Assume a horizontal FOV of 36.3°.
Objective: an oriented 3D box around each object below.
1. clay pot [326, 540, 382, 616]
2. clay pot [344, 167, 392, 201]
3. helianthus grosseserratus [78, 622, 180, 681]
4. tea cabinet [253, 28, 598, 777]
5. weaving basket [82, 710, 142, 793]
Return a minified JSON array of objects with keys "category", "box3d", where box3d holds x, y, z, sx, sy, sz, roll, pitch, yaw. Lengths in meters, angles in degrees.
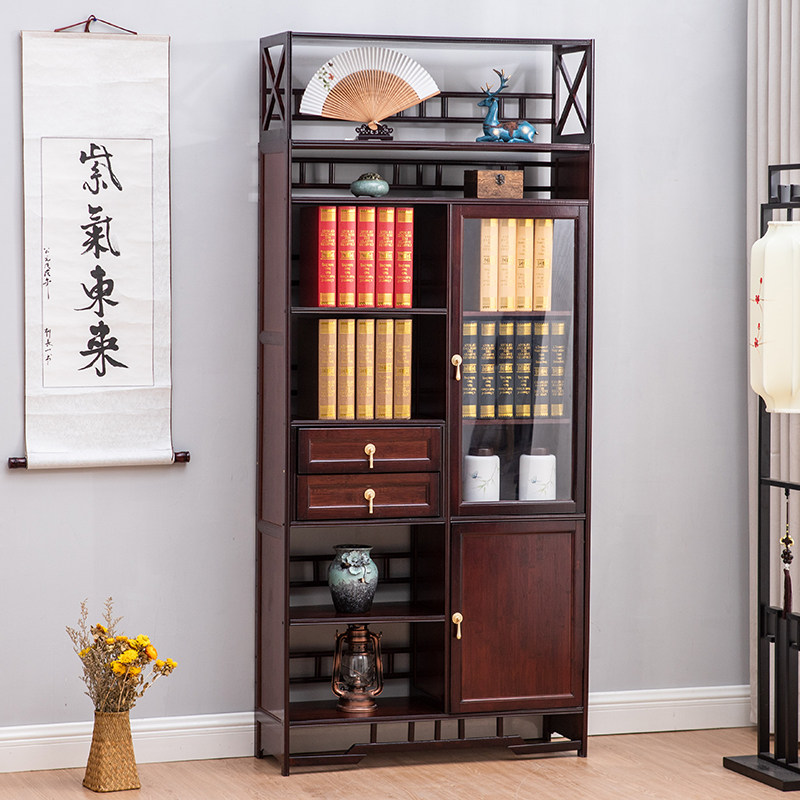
[{"category":"clay pot","box3d":[-0.148,0.579,4.004,0.191,0.244,0.187,1,-3,0]},{"category":"clay pot","box3d":[-0.101,-0.693,3.951,0.112,0.083,0.112,0,7,0]},{"category":"helianthus grosseserratus","box3d":[-0.869,0.813,3.841,0.323,0.238,0.406,0,3,-17]},{"category":"tea cabinet","box3d":[0.097,-0.011,4.016,1.130,2.415,0.500,0,3,-8]},{"category":"weaving basket","box3d":[-0.882,1.072,3.730,0.170,0.248,0.088,0,3,-14]}]
